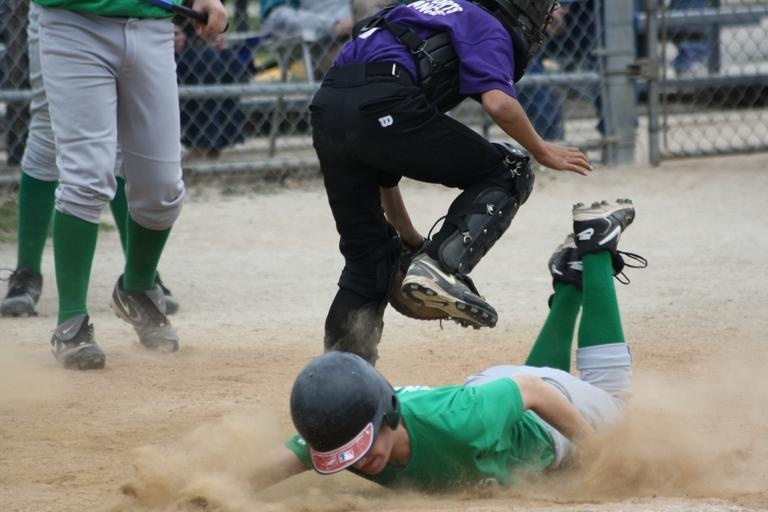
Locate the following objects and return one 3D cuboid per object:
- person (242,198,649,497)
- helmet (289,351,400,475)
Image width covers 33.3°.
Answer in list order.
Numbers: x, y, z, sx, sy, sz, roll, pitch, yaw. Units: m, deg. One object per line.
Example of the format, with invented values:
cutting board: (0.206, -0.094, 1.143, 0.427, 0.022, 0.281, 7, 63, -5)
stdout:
person: (0.457, 0.504, 6.364, 2.038, 0.887, 1.023, -12, 11, -33)
helmet: (-0.185, 0.677, 5.886, 0.421, 0.559, 0.427, 8, -19, 40)
